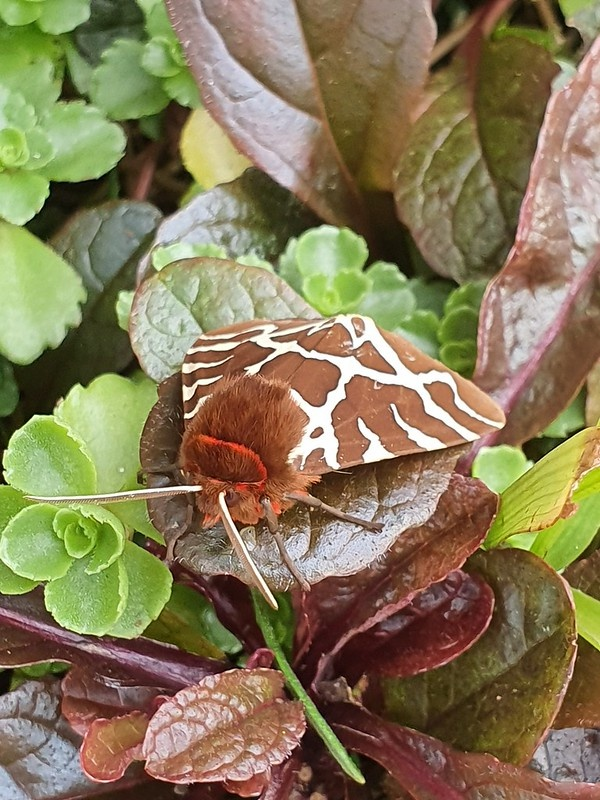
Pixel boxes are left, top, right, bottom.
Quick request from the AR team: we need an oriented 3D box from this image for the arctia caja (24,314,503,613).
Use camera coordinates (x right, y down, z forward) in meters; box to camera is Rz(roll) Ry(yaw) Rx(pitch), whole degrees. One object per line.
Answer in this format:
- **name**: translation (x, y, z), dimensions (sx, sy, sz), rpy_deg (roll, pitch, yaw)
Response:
- **arctia caja**: translation (-0.017, 0.016, 0.703), dimensions (0.333, 0.090, 0.280), rpy_deg (-30, 55, -14)
